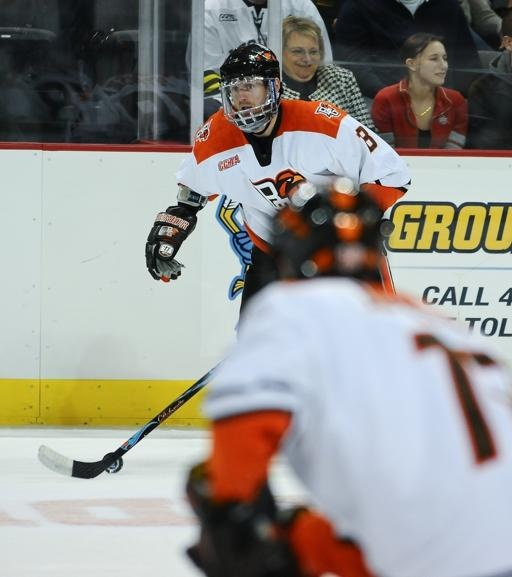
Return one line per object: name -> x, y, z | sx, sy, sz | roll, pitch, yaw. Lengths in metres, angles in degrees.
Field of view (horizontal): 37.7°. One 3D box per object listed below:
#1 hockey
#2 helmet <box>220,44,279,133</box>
hockey -> -0.432, 0.506, 2.817 | 0.240, 0.842, 0.121 | 52, 23, 11
helmet -> -0.021, -0.666, 2.477 | 0.190, 0.288, 0.120 | 4, 3, -6
